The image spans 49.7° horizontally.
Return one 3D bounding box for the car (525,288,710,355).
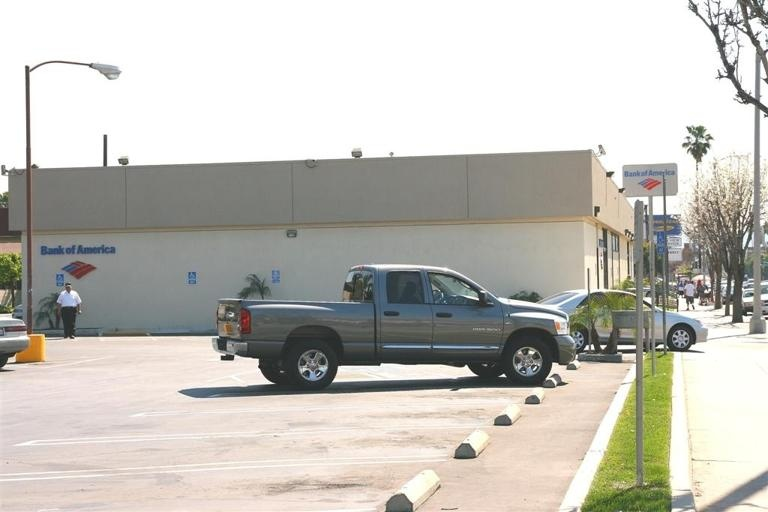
[{"bbox_3d":[7.599,2.115,24.860,5.290,1.752,2.125,-1,0,-5],"label":"car"}]
